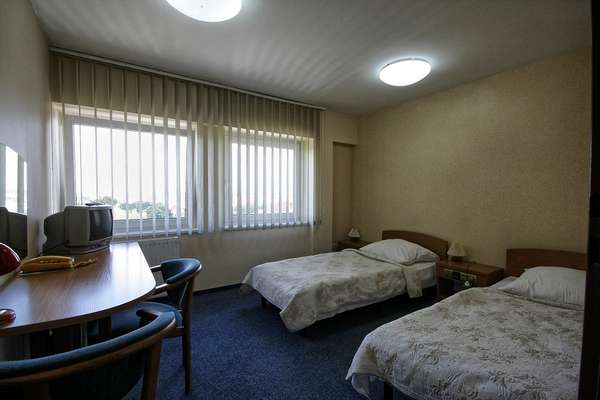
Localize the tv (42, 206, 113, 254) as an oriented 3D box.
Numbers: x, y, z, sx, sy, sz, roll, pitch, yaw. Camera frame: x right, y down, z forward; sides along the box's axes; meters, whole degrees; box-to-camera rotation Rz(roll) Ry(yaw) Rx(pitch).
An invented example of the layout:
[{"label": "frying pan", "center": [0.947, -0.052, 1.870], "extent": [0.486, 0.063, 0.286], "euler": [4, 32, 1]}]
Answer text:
[{"label": "tv", "center": [-2.276, 0.291, 4.382], "extent": [0.671, 0.472, 0.661], "euler": [-2, 1, -31]}]

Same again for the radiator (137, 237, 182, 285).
[{"label": "radiator", "center": [-1.525, 0.653, 4.526], "extent": [0.569, 0.639, 0.086], "euler": [-2, -7, -40]}]

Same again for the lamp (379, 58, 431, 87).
[{"label": "lamp", "center": [1.229, -1.511, 4.956], "extent": [0.554, 0.244, 0.348], "euler": [-1, 2, 26]}]

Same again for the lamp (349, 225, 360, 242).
[{"label": "lamp", "center": [0.853, 0.555, 6.812], "extent": [0.200, 0.207, 0.183], "euler": [1, 9, 2]}]

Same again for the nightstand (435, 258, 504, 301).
[{"label": "nightstand", "center": [2.110, 1.050, 5.280], "extent": [0.468, 0.629, 0.693], "euler": [-12, 15, -38]}]

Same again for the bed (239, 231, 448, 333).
[{"label": "bed", "center": [0.645, 0.911, 5.164], "extent": [1.917, 0.627, 1.229], "euler": [-2, 3, -29]}]

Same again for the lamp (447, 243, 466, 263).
[{"label": "lamp", "center": [1.987, 0.667, 5.354], "extent": [0.223, 0.224, 0.223], "euler": [-9, 12, -40]}]
